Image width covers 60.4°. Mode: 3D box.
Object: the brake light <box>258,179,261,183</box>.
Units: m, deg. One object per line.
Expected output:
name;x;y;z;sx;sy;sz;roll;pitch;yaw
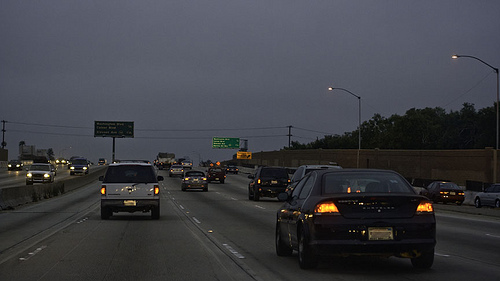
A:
brake light;0.775;3.505;36.750;0.273;0.512;0.277;0;0;-6

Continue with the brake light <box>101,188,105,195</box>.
brake light;-7.723;2.648;22.594;0.241;0.294;0.060;1;-4;24

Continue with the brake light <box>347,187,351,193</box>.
brake light;2.977;1.498;12.988;0.142;0.168;0.022;1;6;-3

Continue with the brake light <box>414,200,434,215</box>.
brake light;4.937;1.897;12.137;0.698;0.405;0.219;6;-5;-37

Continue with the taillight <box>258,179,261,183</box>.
taillight;0.808;3.470;36.729;0.297;0.300;0.133;0;-5;41

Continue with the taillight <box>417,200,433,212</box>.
taillight;4.939;1.879;12.139;0.358;0.249;0.364;0;4;-2

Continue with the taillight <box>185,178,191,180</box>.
taillight;-6.991;4.352;48.409;0.717;0.202;0.183;3;-4;5

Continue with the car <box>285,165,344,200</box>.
car;3.065;2.168;23.727;1.873;1.738;3.505;1;-3;-5

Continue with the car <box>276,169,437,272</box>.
car;3.016;2.317;12.610;4.489;3.005;2.091;1;-4;22

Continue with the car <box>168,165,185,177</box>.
car;-12.475;5.223;72.315;2.365;1.617;4.066;0;3;-6

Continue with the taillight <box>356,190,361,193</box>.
taillight;3.248;1.523;12.867;0.122;0.052;0.124;-2;1;18

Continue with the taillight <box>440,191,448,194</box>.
taillight;18.442;4.931;40.815;0.639;0.218;0.155;1;-4;25

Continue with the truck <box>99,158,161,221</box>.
truck;-6.764;2.982;26.128;3.936;3.743;7.200;1;1;-4

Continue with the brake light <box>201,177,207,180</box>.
brake light;-5.252;4.315;48.563;0.564;0.285;0.333;4;-4;-16

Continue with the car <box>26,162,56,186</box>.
car;-26.243;4.140;53.646;2.812;2.565;4.178;4;-4;-15

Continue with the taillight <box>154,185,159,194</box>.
taillight;-5.004;2.605;22.864;0.212;0.446;0.085;5;-4;-33
